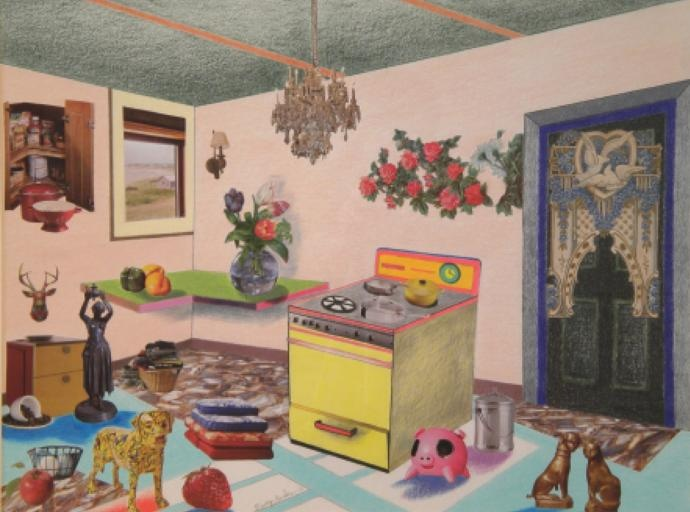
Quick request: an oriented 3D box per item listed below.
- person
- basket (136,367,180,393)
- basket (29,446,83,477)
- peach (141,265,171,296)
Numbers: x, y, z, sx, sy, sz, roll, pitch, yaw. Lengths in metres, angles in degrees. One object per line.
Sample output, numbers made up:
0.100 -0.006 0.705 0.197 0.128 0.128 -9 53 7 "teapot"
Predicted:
-1.792 0.681 5.361 0.265 0.970 0.240 -2 2 -19 "person"
-1.502 0.997 6.043 0.227 0.106 0.195 -4 -4 27 "basket"
-1.829 1.292 4.760 0.251 0.113 0.247 1 2 27 "basket"
-1.512 0.194 6.049 0.205 0.246 0.287 -2 2 -15 "peach"
